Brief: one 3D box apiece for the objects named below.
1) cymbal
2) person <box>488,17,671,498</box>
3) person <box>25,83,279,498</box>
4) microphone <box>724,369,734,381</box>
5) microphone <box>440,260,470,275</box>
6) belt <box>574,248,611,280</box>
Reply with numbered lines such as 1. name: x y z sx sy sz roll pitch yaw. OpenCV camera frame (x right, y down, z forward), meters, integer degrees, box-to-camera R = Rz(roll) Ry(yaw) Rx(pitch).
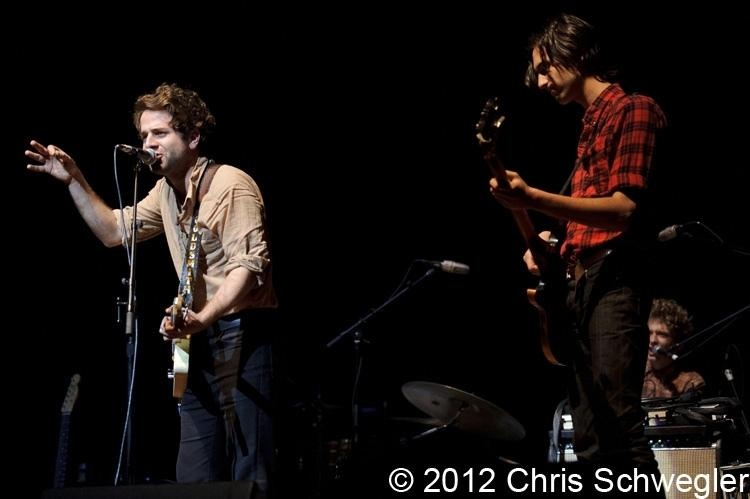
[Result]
1. cymbal: 0.625 1.177 5.625 0.599 0.148 0.617 12 -20 38
2. person: 1.338 -0.022 4.584 0.848 2.895 0.551 -2 -14 12
3. person: -1.203 0.151 4.935 1.445 2.606 0.504 -3 -15 16
4. microphone: 2.779 0.983 5.986 0.050 0.106 0.295 -5 -15 23
5. microphone: 0.631 0.143 5.991 0.216 0.084 0.119 6 2 5
6. belt: 1.303 0.074 4.632 0.187 0.072 0.160 -33 -16 5
